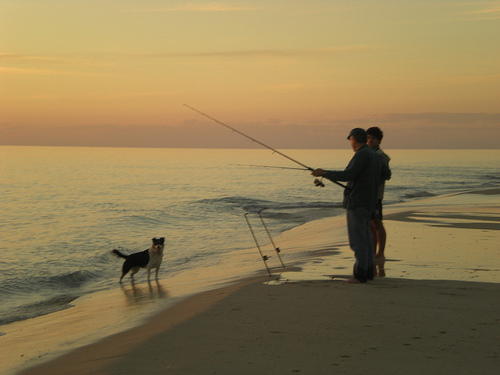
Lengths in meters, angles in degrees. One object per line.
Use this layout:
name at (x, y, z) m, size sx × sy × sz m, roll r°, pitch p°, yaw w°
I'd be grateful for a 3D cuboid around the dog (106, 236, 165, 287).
dog at (-2.343, 1.658, 13.908) m, size 0.579 × 0.817 × 2.018 m, roll 7°, pitch -13°, yaw -43°
